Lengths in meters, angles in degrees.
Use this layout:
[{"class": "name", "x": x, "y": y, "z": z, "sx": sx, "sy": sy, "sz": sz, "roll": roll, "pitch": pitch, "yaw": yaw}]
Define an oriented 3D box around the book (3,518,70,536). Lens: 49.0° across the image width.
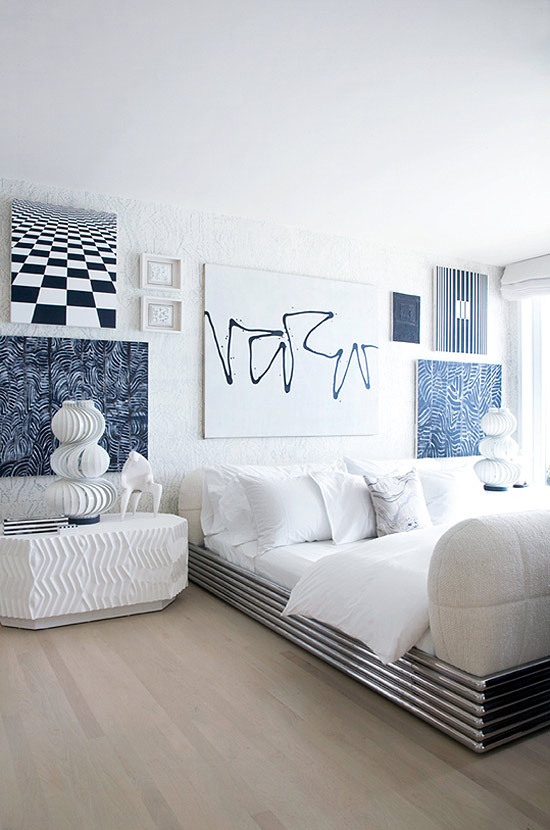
[{"class": "book", "x": -1.102, "y": 0.514, "z": 2.771, "sx": 0.285, "sy": 0.062, "sz": 0.173, "roll": 1, "pitch": -2, "yaw": -20}]
